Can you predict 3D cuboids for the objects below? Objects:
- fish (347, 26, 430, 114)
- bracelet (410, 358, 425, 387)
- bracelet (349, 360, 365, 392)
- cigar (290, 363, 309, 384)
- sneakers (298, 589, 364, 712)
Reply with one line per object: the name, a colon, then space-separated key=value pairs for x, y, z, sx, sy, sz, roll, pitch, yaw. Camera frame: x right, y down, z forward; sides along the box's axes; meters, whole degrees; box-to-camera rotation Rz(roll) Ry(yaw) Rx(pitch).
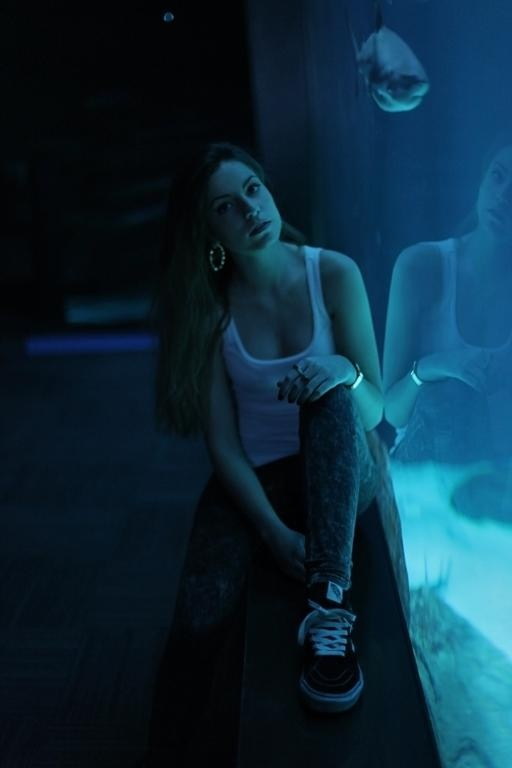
fish: x=0.193 y=-0.475 z=0.921 sx=0.040 sy=0.084 sz=0.202 roll=-6 pitch=40 yaw=-8
bracelet: x=0.247 y=-0.010 z=0.920 sx=0.009 sy=0.029 sz=0.020 roll=2 pitch=26 yaw=-8
bracelet: x=0.175 y=-0.015 z=1.095 sx=0.030 sy=0.054 sz=0.045 roll=1 pitch=15 yaw=2
cigar: x=0.069 y=-0.015 z=0.954 sx=0.022 sy=0.029 sz=0.007 roll=4 pitch=1 yaw=22
sneakers: x=0.098 y=0.353 z=0.823 sx=0.081 sy=0.147 sz=0.138 roll=-3 pitch=11 yaw=3
